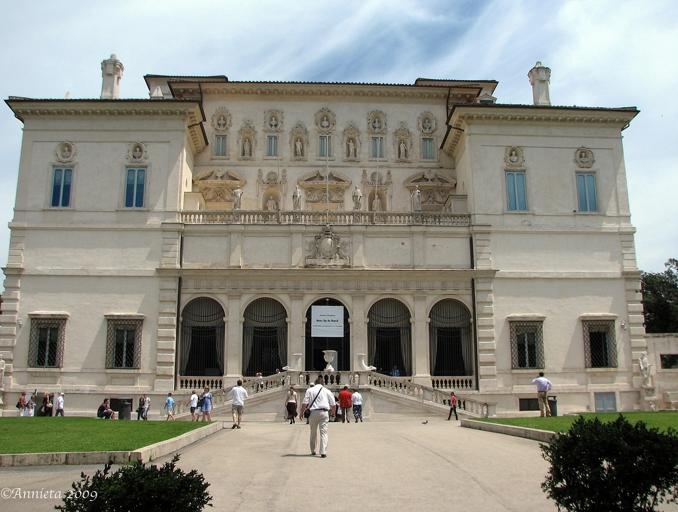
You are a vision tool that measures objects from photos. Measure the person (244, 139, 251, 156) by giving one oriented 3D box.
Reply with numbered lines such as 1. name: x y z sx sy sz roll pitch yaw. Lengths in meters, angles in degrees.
1. person: -5.598 -6.627 42.227 0.499 1.178 0.186 0 -14 -4

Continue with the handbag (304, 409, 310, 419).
1. handbag: -0.927 4.630 20.244 0.168 0.208 0.448 1 -14 -6

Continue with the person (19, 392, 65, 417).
1. person: -14.676 7.301 34.048 2.286 1.199 1.520 -11 -17 36

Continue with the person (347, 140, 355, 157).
1. person: 0.793 -6.655 42.617 0.495 1.200 0.171 0 -14 0

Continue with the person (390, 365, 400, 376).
1. person: 2.893 5.957 35.708 0.512 0.564 0.721 -6 -15 20

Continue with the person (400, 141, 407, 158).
1. person: 3.987 -6.547 42.645 0.455 1.193 0.160 -3 -14 12

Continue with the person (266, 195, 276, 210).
1. person: -4.105 -3.246 41.766 0.685 1.149 1.211 1 -14 -6

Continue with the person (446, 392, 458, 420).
1. person: 5.236 6.896 31.601 0.505 1.270 1.307 -3 -14 9

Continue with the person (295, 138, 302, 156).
1. person: -2.434 -6.673 42.388 0.580 1.315 0.243 1 -14 -5
